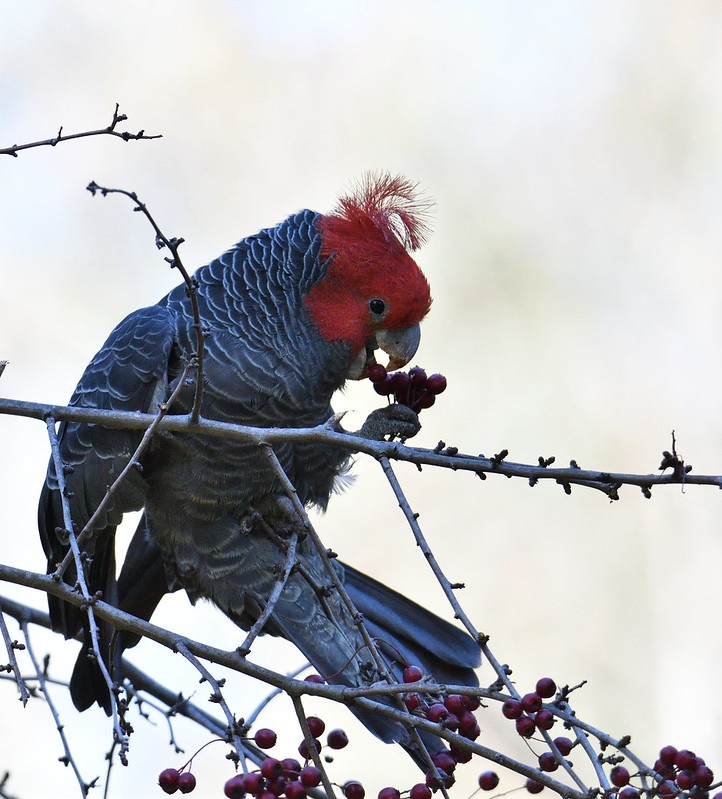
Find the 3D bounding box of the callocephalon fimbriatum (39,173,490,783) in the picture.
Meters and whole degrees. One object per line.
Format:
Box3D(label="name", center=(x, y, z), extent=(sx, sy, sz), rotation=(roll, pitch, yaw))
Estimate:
Box3D(label="callocephalon fimbriatum", center=(-0.378, 0.123, 6.795), extent=(1.054, 1.421, 2.551), rotation=(-5, -86, 21))
